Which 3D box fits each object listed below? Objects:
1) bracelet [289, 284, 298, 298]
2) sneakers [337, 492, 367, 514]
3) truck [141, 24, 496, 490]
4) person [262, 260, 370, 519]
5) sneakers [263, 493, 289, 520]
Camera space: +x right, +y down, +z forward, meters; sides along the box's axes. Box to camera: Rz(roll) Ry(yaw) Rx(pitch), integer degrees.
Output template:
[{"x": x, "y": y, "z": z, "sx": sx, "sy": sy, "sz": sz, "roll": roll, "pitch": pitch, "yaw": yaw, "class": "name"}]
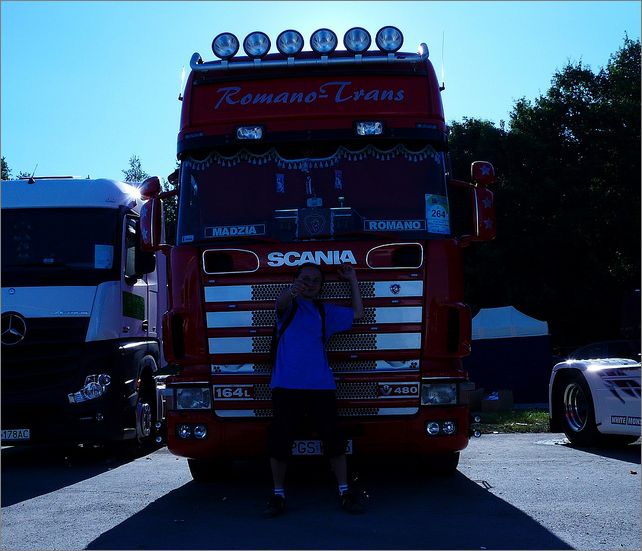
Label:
[{"x": -0.234, "y": 0.125, "z": 5.596, "sx": 0.057, "sy": 0.094, "sz": 0.032, "roll": -1, "pitch": -2, "yaw": 10, "class": "bracelet"}, {"x": 0.222, "y": 1.804, "z": 5.312, "sx": 0.144, "sy": 0.179, "sz": 0.314, "roll": 2, "pitch": -7, "yaw": -32, "class": "sneakers"}, {"x": 0.098, "y": 0.320, "z": 8.285, "sx": 2.426, "sy": 3.509, "sz": 4.856, "roll": -1, "pitch": -18, "yaw": 2, "class": "truck"}, {"x": -0.095, "y": 0.890, "z": 5.452, "sx": 0.724, "sy": 2.006, "sz": 0.447, "roll": -1, "pitch": -4, "yaw": -5, "class": "person"}, {"x": -0.365, "y": 1.816, "z": 5.250, "sx": 0.117, "sy": 0.158, "sz": 0.287, "roll": -3, "pitch": -6, "yaw": 16, "class": "sneakers"}]
